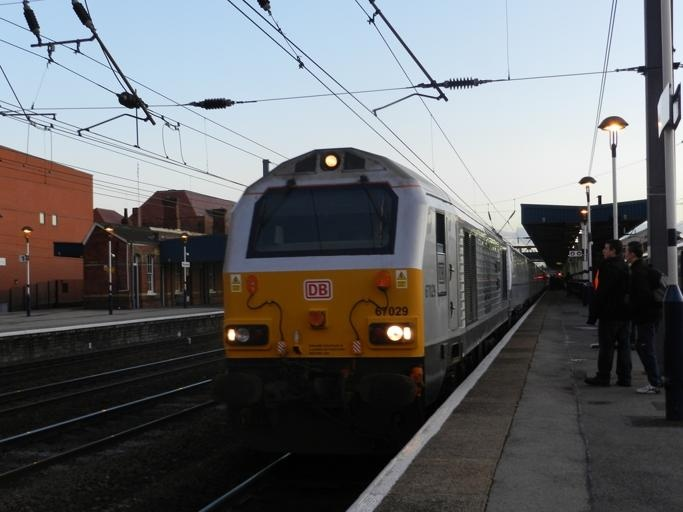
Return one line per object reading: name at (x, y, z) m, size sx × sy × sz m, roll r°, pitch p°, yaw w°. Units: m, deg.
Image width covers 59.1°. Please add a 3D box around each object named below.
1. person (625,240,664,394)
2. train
person at (4.420, 0.885, 8.761) m, size 0.432 × 2.213 × 0.634 m, roll -4°, pitch -3°, yaw 27°
train at (0.600, 0.209, 8.144) m, size 4.151 × 3.203 × 1.950 m, roll 0°, pitch -4°, yaw -40°
